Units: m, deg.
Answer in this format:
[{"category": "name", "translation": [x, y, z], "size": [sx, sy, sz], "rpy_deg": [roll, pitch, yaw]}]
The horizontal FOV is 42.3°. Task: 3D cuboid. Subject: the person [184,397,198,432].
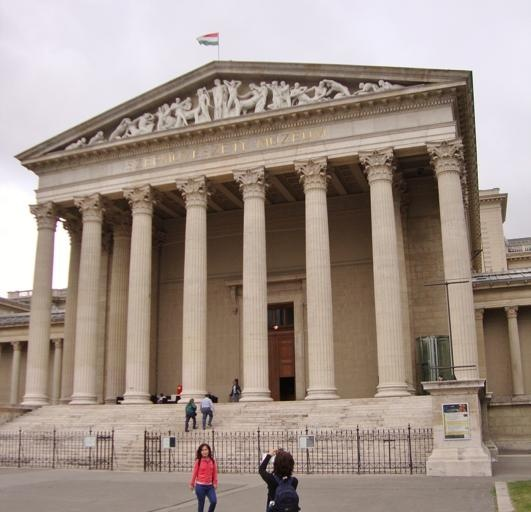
[{"category": "person", "translation": [-3.153, 6.663, 28.566], "size": [0.472, 1.322, 1.579], "rpy_deg": [-1, -14, -8]}]
